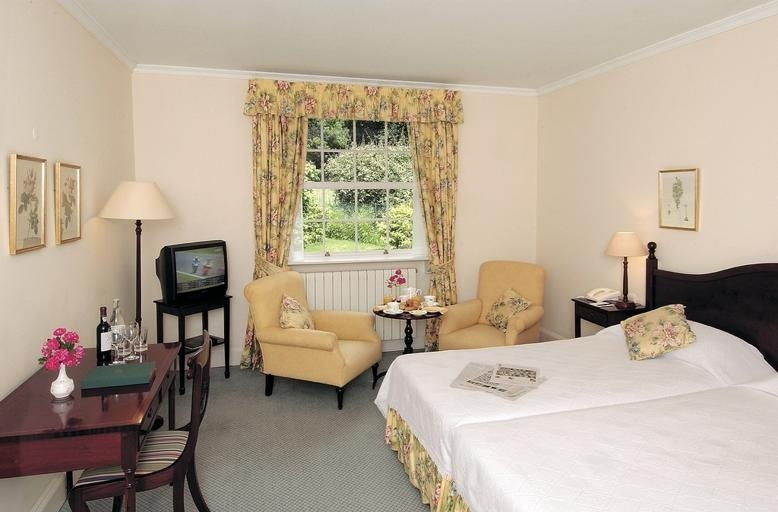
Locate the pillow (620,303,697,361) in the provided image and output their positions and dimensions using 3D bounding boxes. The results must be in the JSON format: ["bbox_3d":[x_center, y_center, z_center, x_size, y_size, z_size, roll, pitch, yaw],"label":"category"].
[{"bbox_3d":[2.353,0.667,4.525,0.511,0.428,0.433,1,3,13],"label":"pillow"}]

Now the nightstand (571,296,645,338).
[{"bbox_3d":[2.357,0.571,5.546,0.451,0.545,0.590,-2,6,-13],"label":"nightstand"}]

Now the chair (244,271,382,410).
[{"bbox_3d":[-0.817,0.823,5.859,1.499,1.447,1.211,1,5,22],"label":"chair"}]

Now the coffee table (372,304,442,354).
[{"bbox_3d":[0.195,0.816,5.820,0.630,0.422,0.628,0,1,-1],"label":"coffee table"}]

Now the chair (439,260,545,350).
[{"bbox_3d":[1.075,0.556,6.088,1.051,1.278,1.143,2,-1,40],"label":"chair"}]

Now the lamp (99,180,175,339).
[{"bbox_3d":[-2.560,-0.057,5.312,0.605,1.486,0.790,-1,4,-16],"label":"lamp"}]

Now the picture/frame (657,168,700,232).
[{"bbox_3d":[2.823,-0.544,5.032,0.097,0.588,0.392,-1,4,-21],"label":"picture/frame"}]

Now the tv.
[{"bbox_3d":[-2.099,0.158,5.703,0.608,0.756,0.915,5,6,29],"label":"tv"}]
